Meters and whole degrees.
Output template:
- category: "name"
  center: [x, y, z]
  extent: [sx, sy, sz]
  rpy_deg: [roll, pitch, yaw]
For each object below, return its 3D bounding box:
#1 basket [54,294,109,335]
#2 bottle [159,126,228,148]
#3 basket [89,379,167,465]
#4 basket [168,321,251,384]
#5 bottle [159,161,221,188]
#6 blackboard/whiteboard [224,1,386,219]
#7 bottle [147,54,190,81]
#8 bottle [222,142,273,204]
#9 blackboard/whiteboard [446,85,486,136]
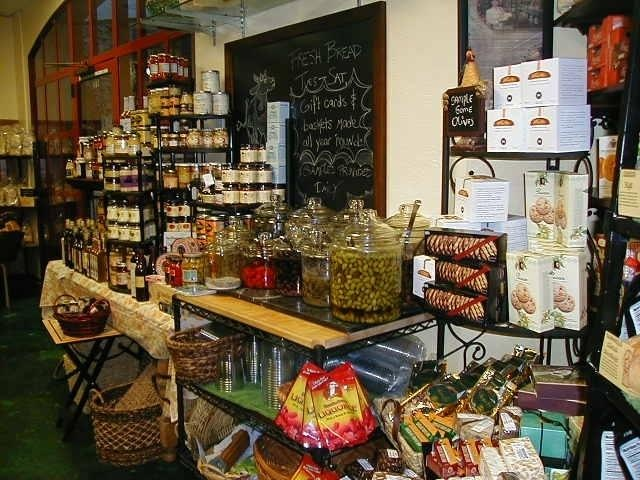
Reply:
- category: "basket"
  center: [-1.696, 0.524, 3.521]
  extent: [0.343, 0.216, 0.349]
  rpy_deg: [1, 7, -11]
- category: "bottle"
  center: [-0.944, -0.753, 3.591]
  extent: [0.566, 0.159, 0.172]
  rpy_deg: [3, 9, 27]
- category: "basket"
  center: [-1.273, 1.190, 3.267]
  extent: [0.502, 0.434, 0.485]
  rpy_deg: [-2, -1, 3]
- category: "basket"
  center: [-0.575, 0.572, 2.549]
  extent: [0.260, 0.145, 0.385]
  rpy_deg: [4, 4, 32]
- category: "bottle"
  center: [-0.994, -0.457, 3.541]
  extent: [0.269, 0.118, 0.348]
  rpy_deg: [0, 3, 0]
- category: "blackboard/whiteboard"
  center: [-0.060, -0.799, 2.991]
  extent: [0.073, 1.300, 1.448]
  rpy_deg: [-7, 10, -39]
- category: "bottle"
  center: [-1.196, -1.347, 3.828]
  extent: [0.292, 0.167, 0.285]
  rpy_deg: [0, 8, 0]
- category: "bottle"
  center: [-0.455, -0.428, 3.145]
  extent: [0.397, 0.379, 0.372]
  rpy_deg: [0, 4, -1]
- category: "blackboard/whiteboard"
  center: [0.589, -0.525, 1.960]
  extent: [0.029, 0.211, 0.212]
  rpy_deg: [-9, 13, -37]
